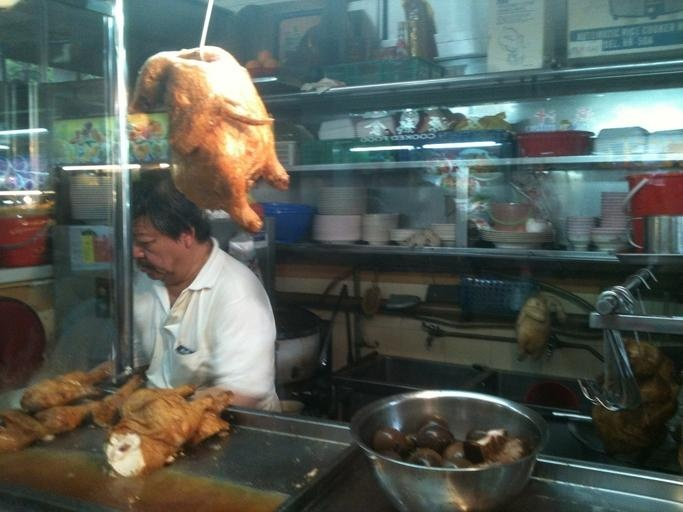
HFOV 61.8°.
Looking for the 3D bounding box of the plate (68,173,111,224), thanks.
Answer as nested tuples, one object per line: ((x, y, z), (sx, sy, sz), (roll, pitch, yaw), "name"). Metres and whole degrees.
((-0.775, -0.181, 1.772), (0.168, 0.154, 0.039), (0, 12, 8), "plate")

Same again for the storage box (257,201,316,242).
((-0.254, -0.170, 2.812), (0.225, 0.123, 0.213), (-2, 4, -17), "storage box")

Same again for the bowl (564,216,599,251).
((1.024, -0.099, 2.463), (0.144, 0.148, 0.140), (2, -1, 0), "bowl")

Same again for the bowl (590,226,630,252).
((1.109, -0.070, 2.376), (0.111, 0.076, 0.109), (0, -3, 0), "bowl")

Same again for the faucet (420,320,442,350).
((0.467, 0.407, 2.953), (0.127, 0.120, 0.038), (24, 23, 18), "faucet")

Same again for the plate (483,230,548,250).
((0.780, -0.075, 2.566), (0.299, 0.082, 0.060), (1, 8, 17), "plate")

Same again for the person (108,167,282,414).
((-0.462, 0.111, 1.875), (0.475, 0.768, 0.260), (2, 9, 24), "person")

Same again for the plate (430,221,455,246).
((0.487, -0.105, 2.720), (0.104, 0.072, 0.104), (4, 5, 43), "plate")

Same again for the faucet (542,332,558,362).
((0.970, 0.432, 2.667), (0.031, 0.099, 0.109), (18, 9, 24), "faucet")

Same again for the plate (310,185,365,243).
((-0.022, -0.206, 2.837), (0.293, 0.246, 0.276), (0, 2, -13), "plate")

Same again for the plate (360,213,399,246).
((0.182, -0.135, 2.792), (0.160, 0.126, 0.161), (4, 3, 42), "plate")
